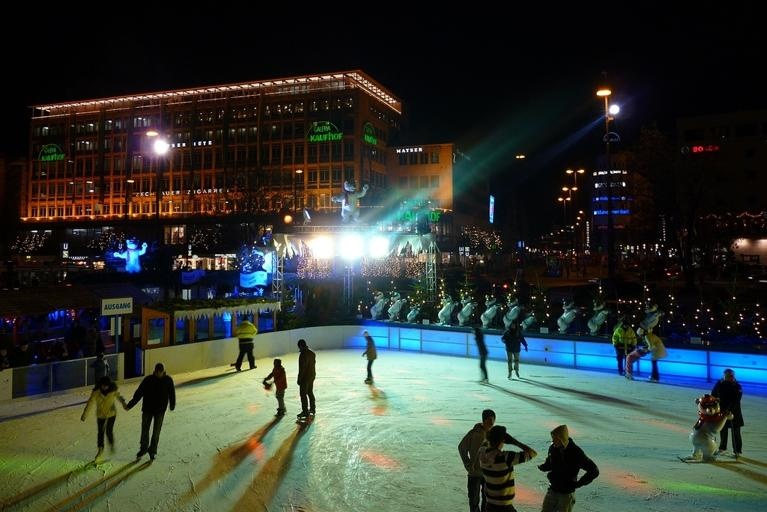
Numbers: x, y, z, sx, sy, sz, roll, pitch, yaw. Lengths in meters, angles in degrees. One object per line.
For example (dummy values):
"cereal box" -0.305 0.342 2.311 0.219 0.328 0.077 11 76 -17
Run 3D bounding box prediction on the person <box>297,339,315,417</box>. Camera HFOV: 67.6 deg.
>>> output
"person" -2.630 4.175 19.437 0.579 2.697 1.380 1 -4 -7

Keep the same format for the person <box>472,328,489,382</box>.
"person" 4.060 4.026 23.575 0.526 2.256 1.086 0 -4 9

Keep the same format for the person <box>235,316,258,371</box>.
"person" -6.255 3.984 25.697 0.898 2.256 1.324 2 -4 -14
